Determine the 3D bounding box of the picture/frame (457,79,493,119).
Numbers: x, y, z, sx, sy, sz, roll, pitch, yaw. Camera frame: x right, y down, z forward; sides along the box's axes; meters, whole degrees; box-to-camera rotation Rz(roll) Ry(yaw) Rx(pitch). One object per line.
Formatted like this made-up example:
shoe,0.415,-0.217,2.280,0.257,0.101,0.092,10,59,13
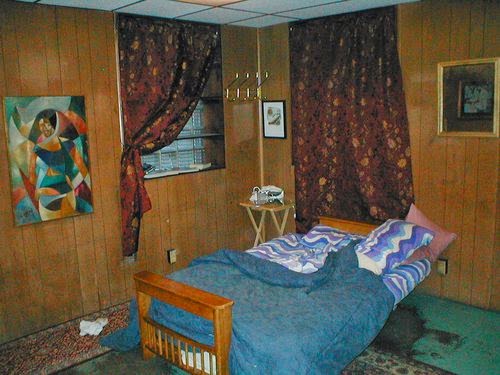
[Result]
picture/frame,2.234,-0.872,4.330,0.027,0.396,0.365,-12,11,-42

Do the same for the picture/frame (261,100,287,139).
picture/frame,0.336,-0.901,5.827,0.035,0.574,0.453,-8,9,-37

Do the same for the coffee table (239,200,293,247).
coffee table,0.213,0.416,5.903,0.598,0.722,0.639,0,2,-22
